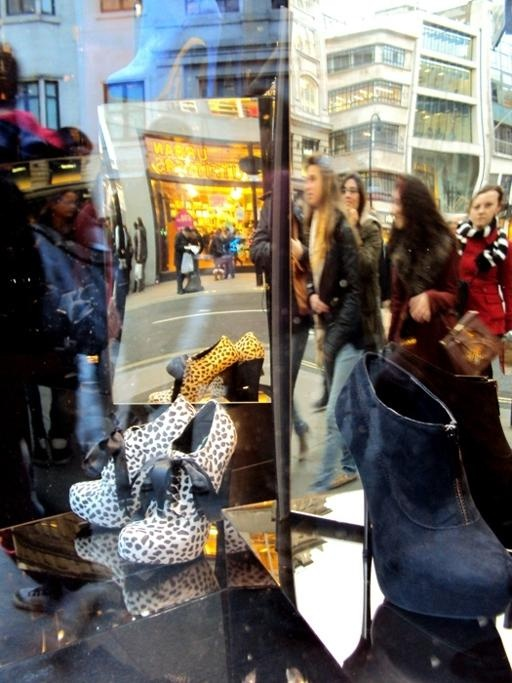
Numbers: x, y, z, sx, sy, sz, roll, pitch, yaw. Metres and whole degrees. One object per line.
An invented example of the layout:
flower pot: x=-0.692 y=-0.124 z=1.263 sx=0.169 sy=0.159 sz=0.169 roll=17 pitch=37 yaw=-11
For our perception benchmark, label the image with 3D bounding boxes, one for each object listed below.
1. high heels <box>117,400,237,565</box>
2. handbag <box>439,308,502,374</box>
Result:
high heels: x=-0.091 y=0.188 z=0.770 sx=0.087 sy=0.106 sz=0.252 roll=2 pitch=25 yaw=12
handbag: x=0.222 y=0.000 z=0.565 sx=0.055 sy=0.056 sz=0.020 roll=-40 pitch=-6 yaw=25
